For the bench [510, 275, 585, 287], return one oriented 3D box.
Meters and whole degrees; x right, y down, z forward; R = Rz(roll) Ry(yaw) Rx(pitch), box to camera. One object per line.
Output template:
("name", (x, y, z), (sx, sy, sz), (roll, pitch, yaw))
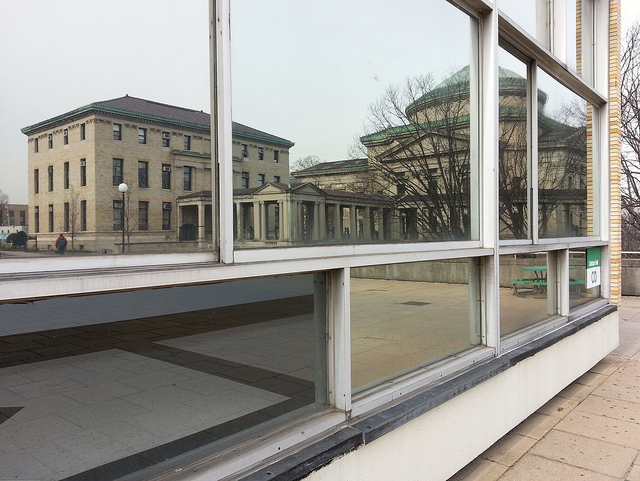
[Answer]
("bench", (2.175, 0.418, 5.557), (0.365, 0.080, 0.348), (-1, 0, -4))
